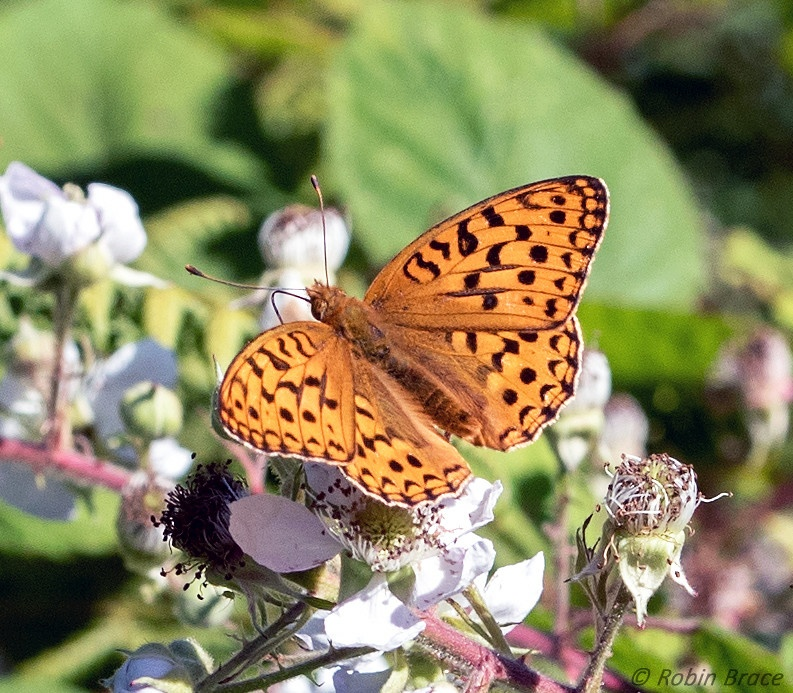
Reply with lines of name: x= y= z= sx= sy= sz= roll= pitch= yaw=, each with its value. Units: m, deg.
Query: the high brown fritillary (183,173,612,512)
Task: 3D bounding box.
high brown fritillary: x=0.008 y=-0.003 z=2.098 sx=0.501 sy=0.196 sz=0.642 roll=42 pitch=59 yaw=12
